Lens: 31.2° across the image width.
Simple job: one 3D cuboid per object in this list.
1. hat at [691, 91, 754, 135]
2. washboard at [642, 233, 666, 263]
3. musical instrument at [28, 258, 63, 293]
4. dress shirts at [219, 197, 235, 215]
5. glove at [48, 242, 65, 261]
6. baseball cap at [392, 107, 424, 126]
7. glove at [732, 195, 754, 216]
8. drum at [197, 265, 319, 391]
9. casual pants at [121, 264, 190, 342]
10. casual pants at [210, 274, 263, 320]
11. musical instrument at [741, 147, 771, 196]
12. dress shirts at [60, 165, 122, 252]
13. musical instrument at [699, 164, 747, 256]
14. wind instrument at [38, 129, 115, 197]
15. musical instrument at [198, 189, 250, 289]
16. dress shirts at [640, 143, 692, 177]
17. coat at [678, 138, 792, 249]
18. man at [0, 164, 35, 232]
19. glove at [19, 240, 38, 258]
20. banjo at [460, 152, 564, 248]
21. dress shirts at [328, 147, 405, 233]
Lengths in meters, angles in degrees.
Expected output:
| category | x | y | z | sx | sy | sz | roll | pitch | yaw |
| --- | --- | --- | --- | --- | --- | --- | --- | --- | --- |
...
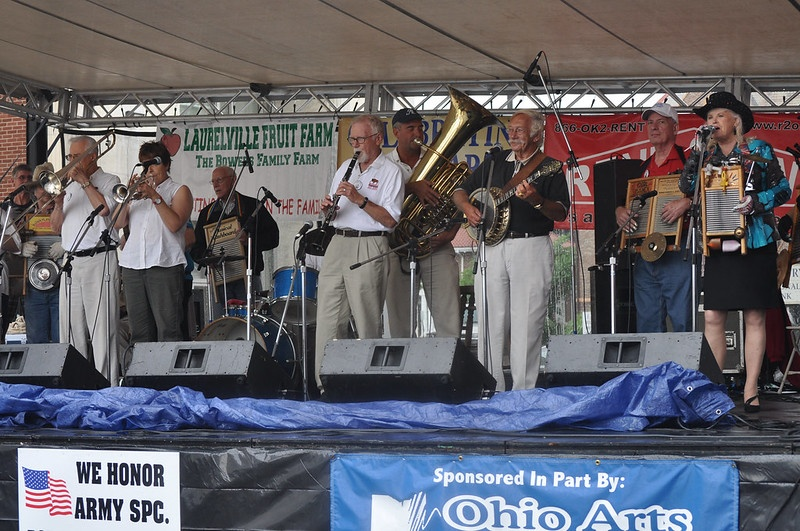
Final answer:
| category | x | y | z | sx | sy | sz | roll | pitch | yaw |
| --- | --- | --- | --- | --- | --- | --- | --- | --- | --- |
| hat | 2.874 | -1.384 | 12.433 | 0.462 | 0.172 | 0.381 | 27 | -30 | -2 |
| washboard | 2.293 | -0.168 | 12.964 | 0.265 | 0.282 | 0.087 | 3 | 5 | 43 |
| musical instrument | -3.507 | 0.092 | 14.222 | 0.386 | 0.362 | 0.099 | 7 | -2 | 10 |
| dress shirts | -1.839 | -0.626 | 15.288 | 0.167 | 0.123 | 0.139 | -16 | -30 | 20 |
| glove | -3.399 | -0.145 | 14.236 | 0.141 | 0.213 | 0.057 | 3 | 2 | -1 |
| baseball cap | 0.044 | -1.401 | 13.692 | 0.230 | 0.122 | 0.171 | -17 | -5 | 43 |
| glove | 2.865 | -0.508 | 12.024 | 0.172 | 0.154 | 0.070 | 0 | -1 | 27 |
| drum | -1.305 | 0.601 | 13.653 | 0.646 | 0.975 | 0.771 | 18 | -36 | -41 |
| casual pants | -2.316 | 0.345 | 13.443 | 0.573 | 0.708 | 0.320 | 0 | -1 | 4 |
| casual pants | -1.772 | 0.308 | 15.219 | 0.470 | 0.730 | 0.526 | -6 | 3 | -10 |
| musical instrument | 2.964 | -0.809 | 12.081 | 0.152 | 0.317 | 0.219 | 7 | -3 | -2 |
| dress shirts | -2.910 | -0.521 | 13.561 | 0.763 | 0.867 | 0.504 | -5 | -8 | 36 |
| musical instrument | 2.698 | -0.481 | 12.098 | 0.417 | 0.703 | 0.180 | 1 | 0 | 31 |
| wind instrument | -3.014 | -0.988 | 14.118 | 0.621 | 0.703 | 1.511 | 0 | -1 | 3 |
| musical instrument | -1.863 | -0.249 | 15.024 | 0.305 | 0.940 | 0.681 | 2 | 3 | -23 |
| dress shirts | 2.491 | -0.972 | 13.396 | 0.246 | 0.399 | 0.425 | 12 | -22 | -25 |
| coat | 2.811 | -0.600 | 12.250 | 0.930 | 0.930 | 0.594 | -9 | -11 | 43 |
| man | -3.797 | -0.689 | 14.532 | 0.369 | 0.334 | 1.019 | -5 | 16 | -2 |
| glove | -3.694 | -0.165 | 14.354 | 0.140 | 0.154 | 0.189 | 1 | -1 | -36 |
| banjo | 0.972 | -0.566 | 12.703 | 0.232 | 0.590 | 0.981 | -8 | -17 | -43 |
| dress shirts | -0.278 | -0.657 | 13.058 | 0.730 | 0.674 | 0.407 | 11 | -2 | 33 |
